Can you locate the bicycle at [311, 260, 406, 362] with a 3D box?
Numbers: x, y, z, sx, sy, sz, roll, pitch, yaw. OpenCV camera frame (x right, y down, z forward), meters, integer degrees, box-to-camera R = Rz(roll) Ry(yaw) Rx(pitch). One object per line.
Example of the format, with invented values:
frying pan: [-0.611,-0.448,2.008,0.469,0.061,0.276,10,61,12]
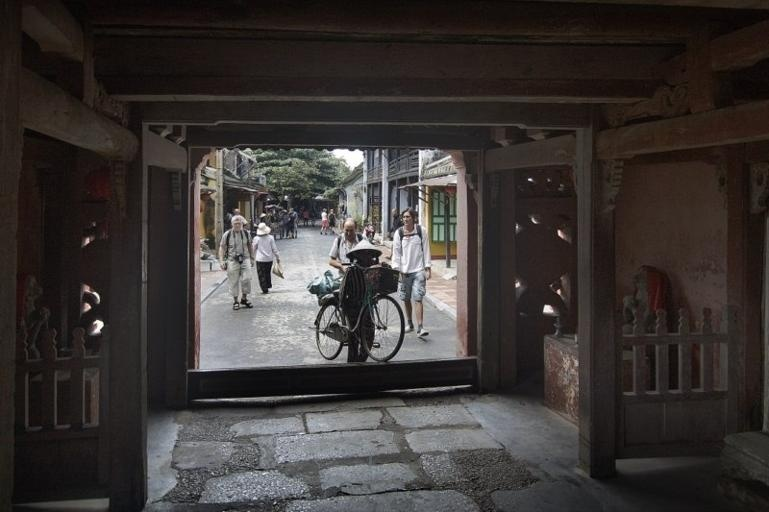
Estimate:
bicycle: [-0.436,0.827,8.659,0.843,1.231,1.931,18,-18,-38]

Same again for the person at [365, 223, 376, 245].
person: [-0.513,-0.990,26.220,0.783,0.792,1.236,1,0,-8]

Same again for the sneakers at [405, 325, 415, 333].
sneakers: [0.453,1.337,11.278,0.181,0.125,0.107,6,-12,-9]

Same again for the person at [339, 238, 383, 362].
person: [-0.326,0.617,8.420,0.521,1.578,0.707,-1,6,-1]

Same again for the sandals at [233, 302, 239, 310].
sandals: [-3.259,1.080,13.445,0.118,0.152,0.350,0,-7,-12]

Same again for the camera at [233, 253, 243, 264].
camera: [-3.108,0.043,13.011,0.132,0.161,0.175,-5,-11,33]

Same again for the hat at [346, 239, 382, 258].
hat: [-0.289,-0.157,8.548,0.301,0.137,0.305,-3,-12,12]

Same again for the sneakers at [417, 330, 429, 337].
sneakers: [0.677,1.335,10.656,0.093,0.093,0.219,-12,-9,-33]

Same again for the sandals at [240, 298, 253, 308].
sandals: [-3.090,1.033,13.704,0.308,0.144,0.149,1,2,13]

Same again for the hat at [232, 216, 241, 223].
hat: [-3.078,-0.762,12.752,0.134,0.177,0.166,0,25,-16]

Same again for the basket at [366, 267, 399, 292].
basket: [-0.011,0.320,8.388,0.303,0.391,0.538,-2,-5,33]
